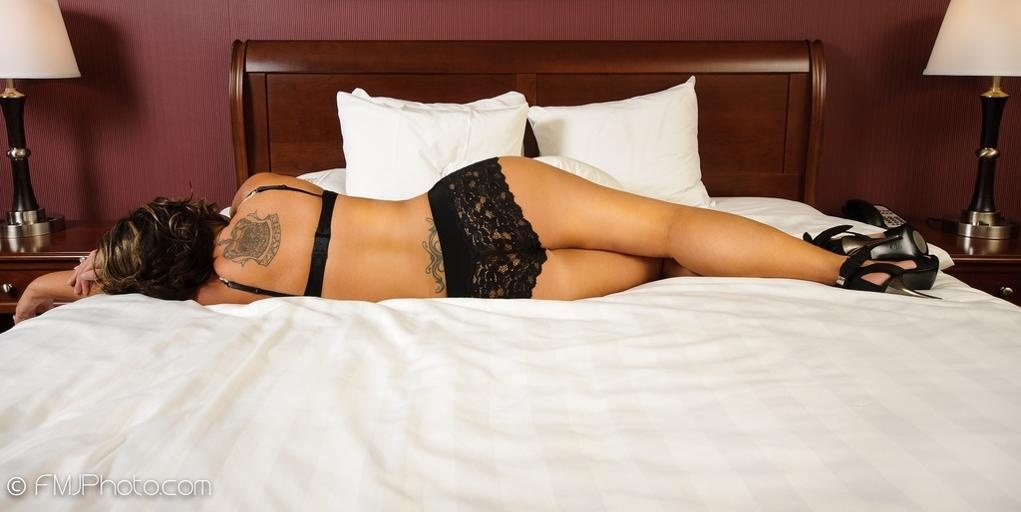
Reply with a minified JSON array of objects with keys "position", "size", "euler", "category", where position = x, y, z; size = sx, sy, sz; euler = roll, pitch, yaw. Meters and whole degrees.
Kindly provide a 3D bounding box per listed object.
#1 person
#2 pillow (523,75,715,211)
[{"position":[-0.115,-0.061,2.941],"size":[4.274,0.821,0.801],"euler":[1,-29,1],"category":"person"},{"position":[0.607,-0.625,3.450],"size":[0.990,0.648,0.294],"euler":[-7,-22,-4],"category":"pillow"}]
